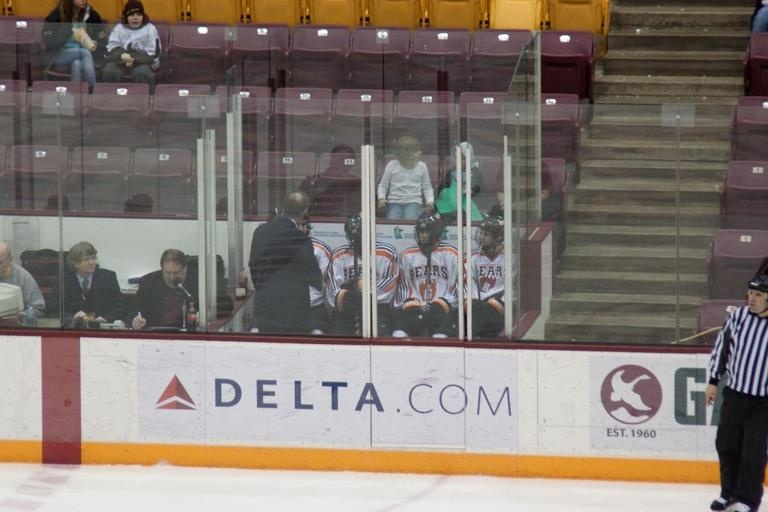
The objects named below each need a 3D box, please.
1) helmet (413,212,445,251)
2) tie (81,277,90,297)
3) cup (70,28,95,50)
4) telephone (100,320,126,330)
[{"bbox_3d":[0.428,-0.233,17.749,0.287,0.327,0.338,-2,35,12],"label":"helmet"},{"bbox_3d":[-2.760,0.264,17.986,0.111,0.140,0.043,-3,-1,9],"label":"tie"},{"bbox_3d":[-3.031,-2.209,19.596,0.171,0.254,0.103,-35,-11,-16],"label":"cup"},{"bbox_3d":[-2.498,0.637,17.976,0.162,0.063,0.109,0,-1,2],"label":"telephone"}]
